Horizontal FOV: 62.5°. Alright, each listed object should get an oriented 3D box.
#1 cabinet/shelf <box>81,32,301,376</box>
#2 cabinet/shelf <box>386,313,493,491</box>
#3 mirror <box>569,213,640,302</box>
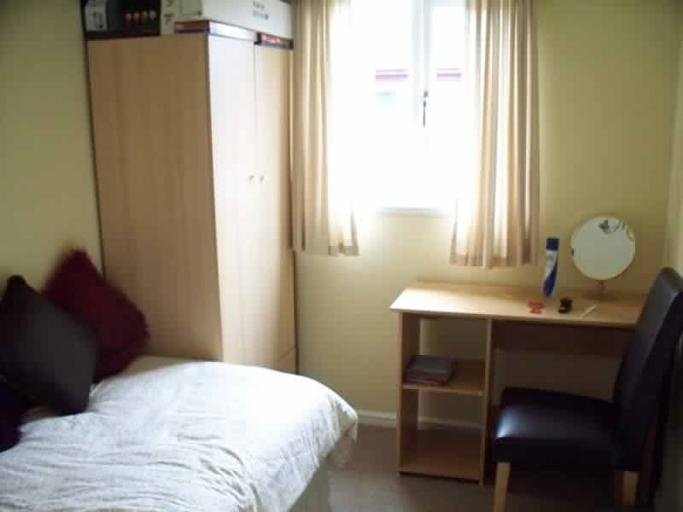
[{"bbox_3d":[-0.424,-0.191,2.071,0.288,1.115,0.577,4,11,24],"label":"cabinet/shelf"},{"bbox_3d":[0.397,0.523,2.145,0.301,0.585,0.319,2,-4,7],"label":"cabinet/shelf"},{"bbox_3d":[0.621,0.001,1.320,0.175,0.261,0.095,3,6,41],"label":"mirror"}]
